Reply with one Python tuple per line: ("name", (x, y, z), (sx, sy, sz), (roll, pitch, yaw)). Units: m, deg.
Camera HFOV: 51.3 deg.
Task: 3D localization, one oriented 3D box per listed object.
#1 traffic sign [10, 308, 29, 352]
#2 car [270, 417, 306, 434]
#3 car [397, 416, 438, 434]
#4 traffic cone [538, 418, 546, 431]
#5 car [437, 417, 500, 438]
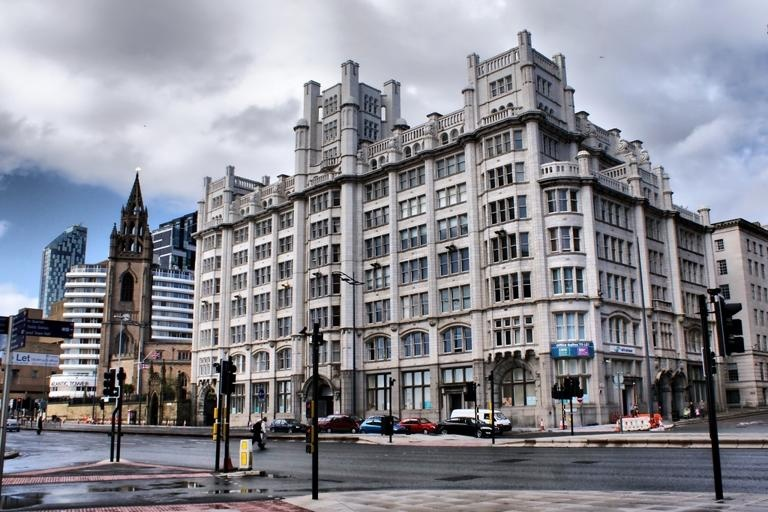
("traffic sign", (-17.572, 3.581, 38.177), (0.707, 1.975, 1.980), (7, -18, -23))
("car", (-10.151, 17.527, 82.634), (2.093, 1.588, 4.436), (11, -19, -34))
("car", (3.073, 15.394, 72.408), (2.334, 0.949, 1.473), (-8, -12, 22))
("traffic cone", (14.500, 15.636, 73.717), (0.781, 0.997, 0.778), (1, -15, -7))
("car", (6.649, 14.423, 66.924), (1.198, 1.874, 6.386), (8, -18, -26))
